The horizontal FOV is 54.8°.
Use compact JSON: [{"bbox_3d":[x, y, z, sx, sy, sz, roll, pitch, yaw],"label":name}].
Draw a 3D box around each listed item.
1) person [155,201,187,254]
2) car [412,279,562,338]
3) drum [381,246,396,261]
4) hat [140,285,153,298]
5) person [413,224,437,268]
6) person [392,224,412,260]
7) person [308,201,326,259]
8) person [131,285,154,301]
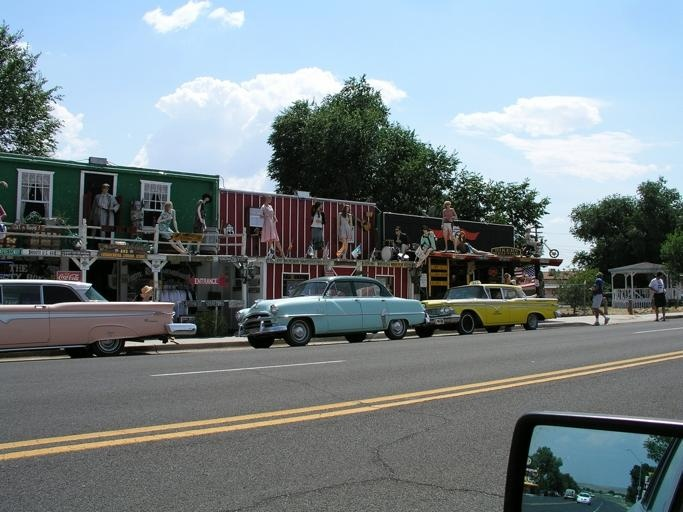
[{"bbox_3d":[-5.617,-0.960,21.827,0.880,1.683,2.656,0,0,-14],"label":"person"},{"bbox_3d":[4.579,1.667,20.987,5.129,1.659,0.754,1,0,-31],"label":"car"},{"bbox_3d":[1.834,-0.074,26.751,0.455,0.600,0.902,0,0,5],"label":"drum"},{"bbox_3d":[-5.232,0.947,17.696,0.375,0.238,0.627,0,-5,-28],"label":"hat"},{"bbox_3d":[3.437,-0.393,27.118,0.756,1.714,0.855,0,0,-35],"label":"person"},{"bbox_3d":[2.456,-0.486,27.945,0.577,1.496,0.816,-16,-22,18],"label":"person"},{"bbox_3d":[-0.972,-1.084,25.704,0.512,2.110,1.287,0,0,-3],"label":"person"},{"bbox_3d":[-6.123,1.135,20.275,0.400,0.529,1.251,17,-8,-18],"label":"person"}]
